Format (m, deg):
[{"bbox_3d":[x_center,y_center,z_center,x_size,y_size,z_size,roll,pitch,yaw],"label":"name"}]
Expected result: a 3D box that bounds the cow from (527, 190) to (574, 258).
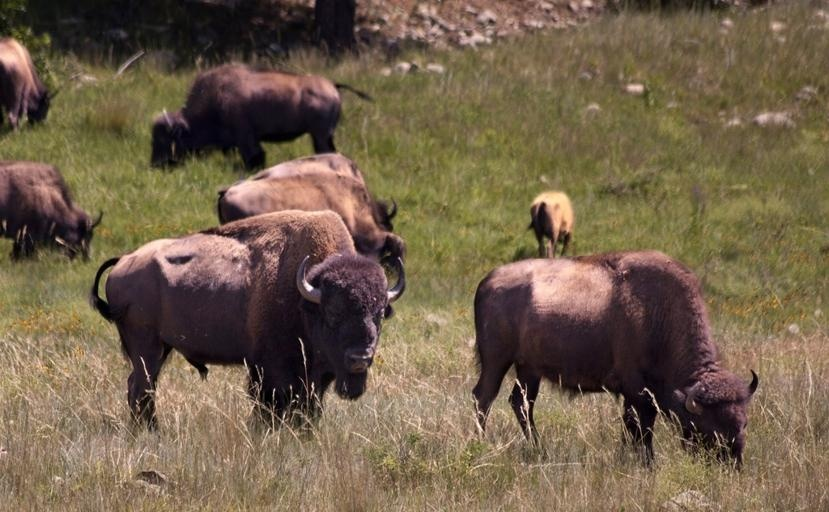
[{"bbox_3d":[3.057,-0.681,31.046,0.800,1.361,1.208,8,13,22],"label":"cow"}]
